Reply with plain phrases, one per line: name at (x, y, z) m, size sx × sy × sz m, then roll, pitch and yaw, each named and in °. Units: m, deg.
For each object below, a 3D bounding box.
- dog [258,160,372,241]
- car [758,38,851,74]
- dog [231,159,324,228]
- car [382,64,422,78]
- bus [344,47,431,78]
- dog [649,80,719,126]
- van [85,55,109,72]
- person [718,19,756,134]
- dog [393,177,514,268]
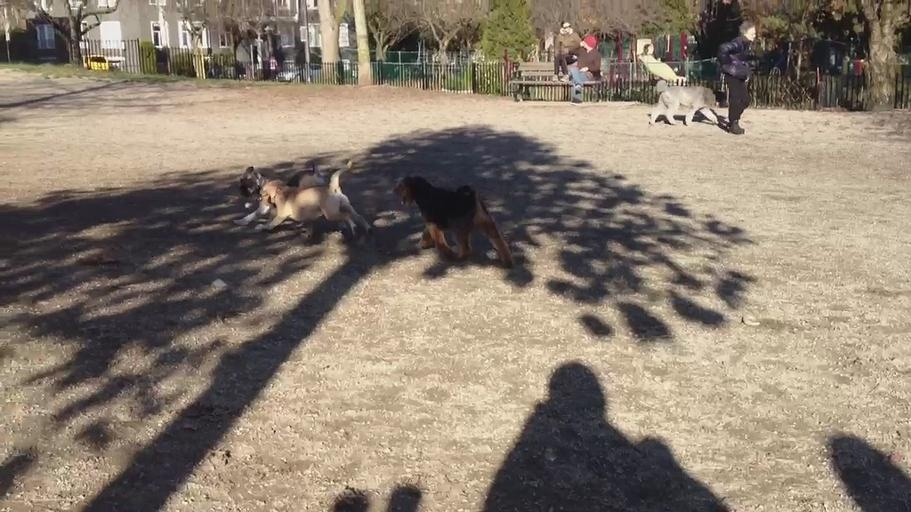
dog at (-2.436, -0.933, 9.818) m, size 1.604 × 1.132 × 0.547 m, roll 1°, pitch 18°, yaw -2°
car at (18.588, -10.622, 33.034) m, size 2.889 × 1.525 × 5.056 m, roll -6°, pitch 18°, yaw -15°
dog at (-2.891, -0.979, 10.313) m, size 1.363 × 0.918 × 0.467 m, roll 3°, pitch 4°, yaw -13°
car at (-2.968, -10.347, 35.061) m, size 1.321 × 0.819 × 3.607 m, roll -13°, pitch 21°, yaw -36°
bus at (-3.888, -11.698, 37.792) m, size 4.389 × 2.170 × 6.708 m, roll -1°, pitch 10°, yaw -4°
dog at (7.101, -4.745, 19.489) m, size 2.142 × 1.149 × 2.382 m, roll 2°, pitch 17°, yaw 10°
van at (-23.139, -12.346, 39.904) m, size 1.231 × 0.867 × 4.955 m, roll -10°, pitch 19°, yaw -29°
person at (8.014, -5.031, 17.694) m, size 0.824 × 2.987 × 1.372 m, roll 6°, pitch 16°, yaw 25°
dog at (-0.025, -0.459, 9.223) m, size 2.118 × 1.222 × 0.524 m, roll 24°, pitch 26°, yaw 22°
